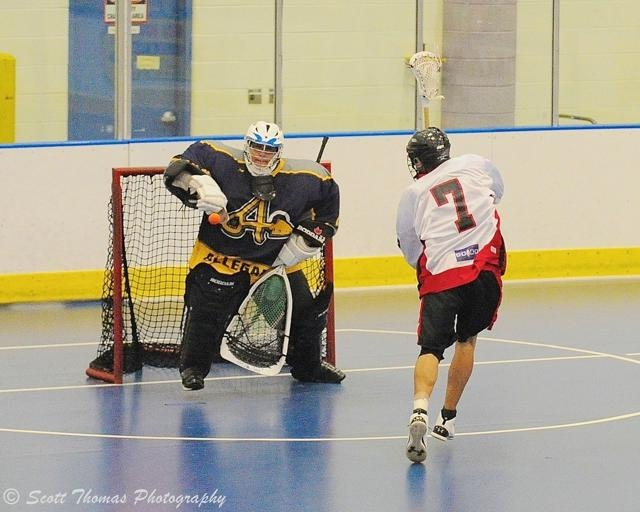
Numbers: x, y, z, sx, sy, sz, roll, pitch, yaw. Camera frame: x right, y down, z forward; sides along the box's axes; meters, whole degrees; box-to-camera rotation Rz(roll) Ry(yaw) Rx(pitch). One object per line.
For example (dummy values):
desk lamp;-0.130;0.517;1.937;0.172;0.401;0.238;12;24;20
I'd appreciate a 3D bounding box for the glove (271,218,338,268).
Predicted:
glove;-0.118;-0.096;7.882;0.455;0.237;0.168;-30;-29;32

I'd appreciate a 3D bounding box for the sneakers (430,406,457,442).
sneakers;0.779;0.990;7.079;0.104;0.196;0.303;24;9;16

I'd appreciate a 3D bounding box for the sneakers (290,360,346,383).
sneakers;-0.004;0.803;8.115;0.387;0.169;0.144;0;0;4

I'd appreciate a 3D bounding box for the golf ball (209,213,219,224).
golf ball;-0.674;-0.236;7.500;0.063;0.070;0.062;12;-11;2

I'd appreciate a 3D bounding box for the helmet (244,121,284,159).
helmet;-0.356;-0.748;7.679;0.258;0.267;0.317;12;5;3

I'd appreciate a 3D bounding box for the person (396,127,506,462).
person;0.763;0.285;6.869;0.639;1.619;1.099;2;15;4

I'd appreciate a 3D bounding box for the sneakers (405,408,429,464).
sneakers;0.540;1.021;6.575;0.113;0.303;0.129;3;40;8

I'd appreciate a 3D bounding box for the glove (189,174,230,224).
glove;-0.683;-0.332;7.491;0.193;0.123;0.310;12;38;-15

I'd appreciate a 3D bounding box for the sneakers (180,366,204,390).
sneakers;-0.846;0.822;7.782;0.149;0.135;0.143;-2;15;-9

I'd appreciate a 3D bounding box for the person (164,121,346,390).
person;-0.464;-0.014;7.782;1.105;1.758;0.459;-2;15;-9
